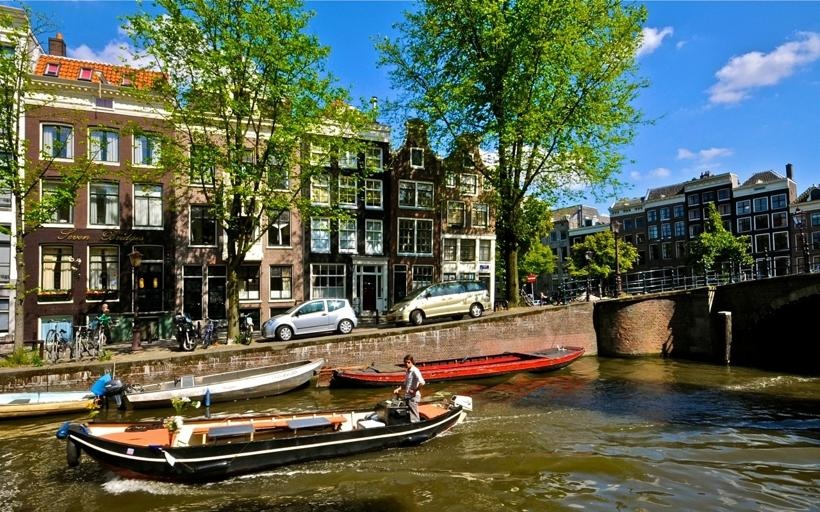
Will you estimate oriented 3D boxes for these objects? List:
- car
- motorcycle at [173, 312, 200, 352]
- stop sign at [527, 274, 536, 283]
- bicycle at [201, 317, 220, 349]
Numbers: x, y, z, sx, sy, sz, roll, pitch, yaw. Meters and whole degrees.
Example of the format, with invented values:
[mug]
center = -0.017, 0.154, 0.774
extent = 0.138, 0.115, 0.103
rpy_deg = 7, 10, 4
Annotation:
[car]
center = -5.779, 3.740, 47.095
extent = 5.754, 2.301, 2.554
rpy_deg = 2, -2, -37
[motorcycle]
center = -12.593, 4.383, 45.553
extent = 1.146, 2.137, 1.356
rpy_deg = -3, -6, -4
[stop sign]
center = 9.740, 1.768, 64.327
extent = 0.877, 0.424, 1.196
rpy_deg = 0, -2, 5
[bicycle]
center = -11.564, 4.501, 46.405
extent = 0.733, 1.623, 1.370
rpy_deg = -3, -6, -5
